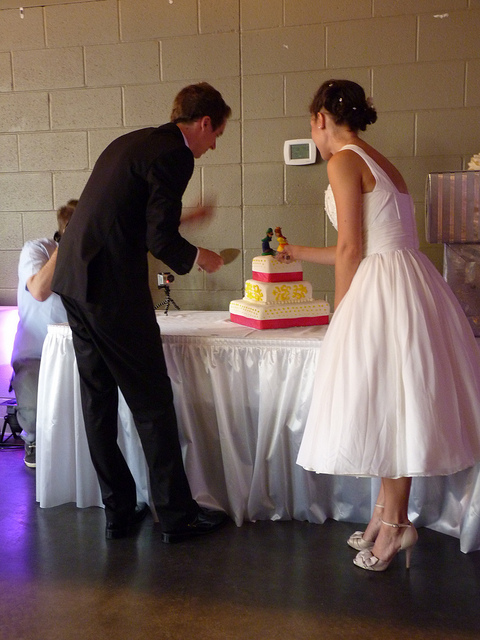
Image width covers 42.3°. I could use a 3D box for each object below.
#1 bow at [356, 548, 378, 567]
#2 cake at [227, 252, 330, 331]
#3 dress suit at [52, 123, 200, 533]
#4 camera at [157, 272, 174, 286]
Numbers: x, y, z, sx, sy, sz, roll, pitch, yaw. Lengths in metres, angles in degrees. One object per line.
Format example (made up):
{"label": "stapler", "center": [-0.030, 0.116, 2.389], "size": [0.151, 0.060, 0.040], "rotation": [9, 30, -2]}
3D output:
{"label": "bow", "center": [0.374, 0.691, 1.819], "size": [0.028, 0.017, 0.052], "rotation": [1, 10, -9]}
{"label": "cake", "center": [0.138, -0.112, 2.288], "size": [0.359, 0.261, 0.384], "rotation": [1, 8, 19]}
{"label": "dress suit", "center": [-0.350, -0.016, 1.965], "size": [0.402, 1.373, 0.445], "rotation": [-3, 14, -22]}
{"label": "camera", "center": [-0.350, -0.195, 2.955], "size": [0.081, 0.079, 0.087], "rotation": [-1, 5, -2]}
